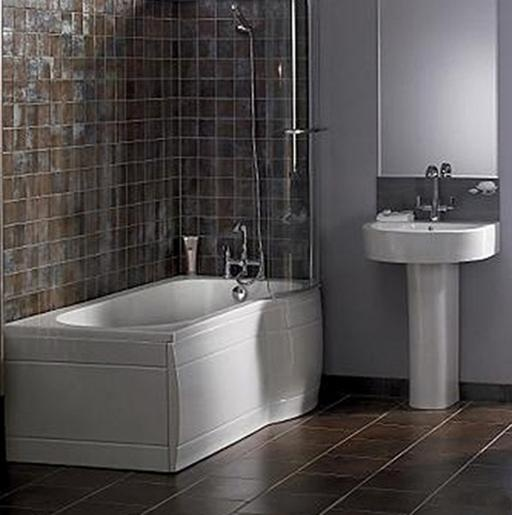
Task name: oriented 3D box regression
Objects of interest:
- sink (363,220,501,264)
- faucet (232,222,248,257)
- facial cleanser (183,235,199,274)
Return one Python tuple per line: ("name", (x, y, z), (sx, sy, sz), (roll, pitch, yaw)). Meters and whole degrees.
("sink", (0.855, -0.072, 2.726), (0.662, 0.211, 0.427), (-2, 5, 10))
("faucet", (-0.068, -0.079, 2.525), (0.073, 0.165, 0.026), (0, 5, 33))
("facial cleanser", (-0.285, -0.007, 2.510), (0.034, 0.177, 0.094), (1, 6, 39))
